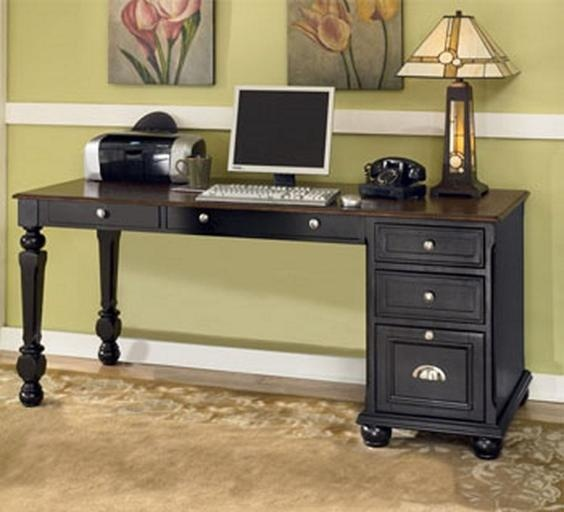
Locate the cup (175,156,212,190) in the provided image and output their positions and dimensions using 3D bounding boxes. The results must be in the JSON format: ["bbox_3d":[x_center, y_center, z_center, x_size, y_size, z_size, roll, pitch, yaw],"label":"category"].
[{"bbox_3d":[-0.325,-0.312,2.226,0.148,0.112,0.092,0,8,-6],"label":"cup"}]

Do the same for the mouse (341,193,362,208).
[{"bbox_3d":[0.224,-0.180,1.913,0.059,0.021,0.045,-6,19,-12],"label":"mouse"}]

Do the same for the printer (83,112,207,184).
[{"bbox_3d":[-0.492,-0.442,2.490,0.514,0.294,0.383,5,7,29],"label":"printer"}]

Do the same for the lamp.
[{"bbox_3d":[0.653,-0.515,2.151,0.560,0.598,0.501,-5,15,-9],"label":"lamp"}]

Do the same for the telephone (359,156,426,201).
[{"bbox_3d":[0.393,-0.273,2.103,0.204,0.130,0.173,9,20,28],"label":"telephone"}]

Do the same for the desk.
[{"bbox_3d":[-0.054,0.178,2.366,1.861,0.813,0.686,3,8,19],"label":"desk"}]

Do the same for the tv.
[{"bbox_3d":[0.017,-0.443,2.261,0.424,0.369,0.122,9,10,27],"label":"tv"}]
